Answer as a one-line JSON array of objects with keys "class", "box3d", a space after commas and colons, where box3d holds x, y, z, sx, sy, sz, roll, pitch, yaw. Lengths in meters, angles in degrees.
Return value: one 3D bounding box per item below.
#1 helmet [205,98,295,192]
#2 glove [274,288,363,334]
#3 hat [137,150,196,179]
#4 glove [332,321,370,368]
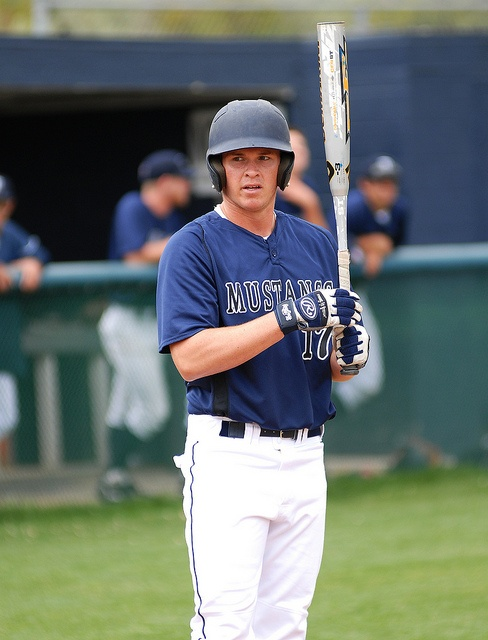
[{"class": "helmet", "box3d": [0.011, -0.509, 3.508, 0.215, 0.248, 0.284, -1, -4, -4]}, {"class": "glove", "box3d": [0.211, -0.027, 3.352, 0.209, 0.119, 0.074, 0, -25, -34]}, {"class": "hat", "box3d": [-0.459, -0.930, 7.058, 0.395, 0.126, 0.463, 3, 11, 17]}, {"class": "glove", "box3d": [0.307, 0.074, 3.509, 0.078, 0.131, 0.092, 16, -28, -36]}]
